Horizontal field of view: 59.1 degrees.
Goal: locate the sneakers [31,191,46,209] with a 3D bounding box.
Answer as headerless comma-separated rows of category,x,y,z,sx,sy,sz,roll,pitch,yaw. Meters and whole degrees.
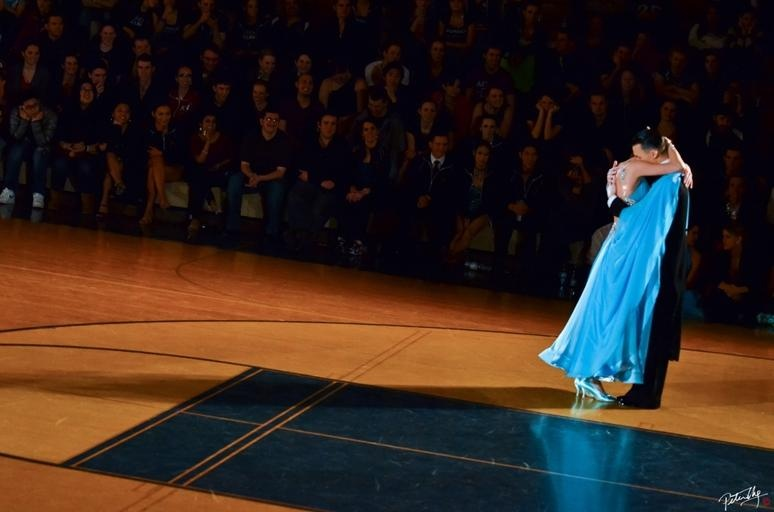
sneakers,-4.386,-0.688,8.582,0.127,0.116,0.248,1,5,-31

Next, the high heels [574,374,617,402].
high heels,1.330,0.860,4.431,0.326,0.171,0.110,13,-2,3

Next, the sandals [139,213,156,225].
sandals,-2.945,-0.438,8.377,0.089,0.129,0.179,0,-6,4

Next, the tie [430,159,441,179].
tie,0.580,-1.013,8.058,0.117,0.224,0.054,2,-19,2
